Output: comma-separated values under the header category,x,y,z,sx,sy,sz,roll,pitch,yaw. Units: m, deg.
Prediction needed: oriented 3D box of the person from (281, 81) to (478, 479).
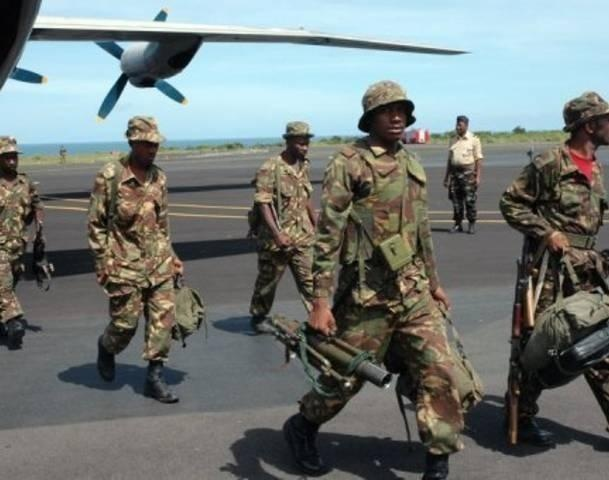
category,x,y,z,sx,sy,sz,roll,pitch,yaw
person,0.527,0.291,4.670,1.208,2.677,0.975,0,11,-2

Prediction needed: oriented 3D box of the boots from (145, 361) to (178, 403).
category,x,y,z,sx,sy,sz,roll,pitch,yaw
boots,-1.237,1.222,5.923,0.157,0.310,0.366,-9,14,-37

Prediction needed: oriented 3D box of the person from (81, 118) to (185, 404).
category,x,y,z,sx,sy,sz,roll,pitch,yaw
person,-1.486,0.136,6.069,0.796,2.389,0.680,-3,12,-13

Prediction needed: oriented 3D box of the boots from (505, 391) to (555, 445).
category,x,y,z,sx,sy,sz,roll,pitch,yaw
boots,1.749,1.377,5.269,0.218,0.437,0.482,12,-10,-25

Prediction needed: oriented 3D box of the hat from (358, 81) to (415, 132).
category,x,y,z,sx,sy,sz,roll,pitch,yaw
hat,0.563,-0.899,4.693,0.374,0.338,0.287,2,11,7

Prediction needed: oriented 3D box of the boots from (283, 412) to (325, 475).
category,x,y,z,sx,sy,sz,roll,pitch,yaw
boots,-0.006,1.448,4.868,0.159,0.428,0.307,-10,-27,-42

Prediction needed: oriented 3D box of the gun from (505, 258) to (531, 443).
category,x,y,z,sx,sy,sz,roll,pitch,yaw
gun,1.703,0.925,5.485,0.161,1.375,0.384,4,-5,17

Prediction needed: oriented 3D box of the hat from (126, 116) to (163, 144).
category,x,y,z,sx,sy,sz,roll,pitch,yaw
hat,-1.374,-0.930,5.875,0.305,0.229,0.380,-2,11,-13

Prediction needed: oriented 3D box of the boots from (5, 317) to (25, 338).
category,x,y,z,sx,sy,sz,roll,pitch,yaw
boots,-3.112,0.944,7.364,0.192,0.201,0.282,3,-21,-31

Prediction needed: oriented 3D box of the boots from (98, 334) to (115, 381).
category,x,y,z,sx,sy,sz,roll,pitch,yaw
boots,-1.828,1.093,6.365,0.157,0.419,0.315,-10,-3,-21
